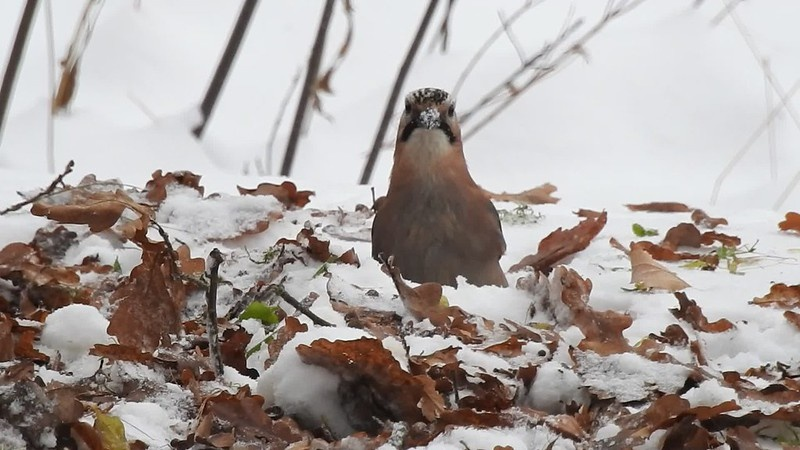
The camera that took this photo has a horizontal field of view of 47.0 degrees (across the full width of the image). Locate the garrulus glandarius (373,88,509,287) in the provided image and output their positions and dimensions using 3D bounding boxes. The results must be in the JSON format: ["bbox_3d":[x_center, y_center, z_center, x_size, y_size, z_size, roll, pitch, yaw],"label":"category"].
[{"bbox_3d":[0.061,-0.229,6.100,0.797,1.240,1.266,2,2,5],"label":"garrulus glandarius"}]
